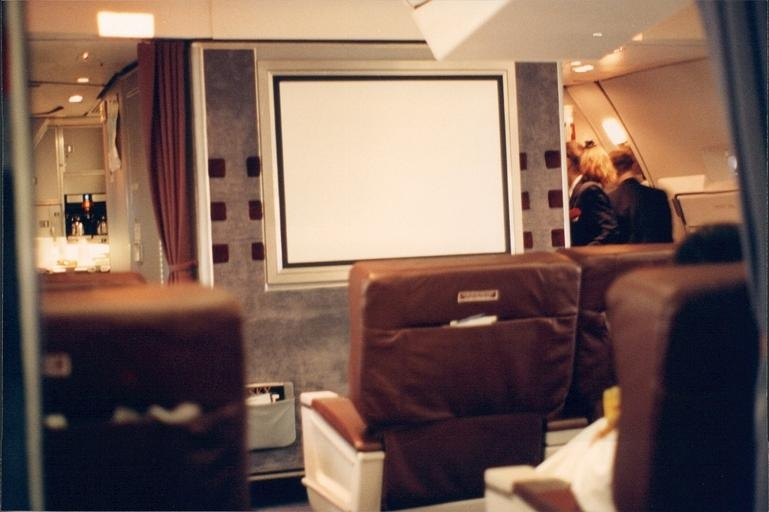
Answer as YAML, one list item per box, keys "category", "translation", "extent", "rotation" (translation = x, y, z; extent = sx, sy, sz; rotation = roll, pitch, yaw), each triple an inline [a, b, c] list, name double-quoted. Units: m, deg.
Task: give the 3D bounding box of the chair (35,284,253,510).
- category: "chair"
  translation: [-0.592, 0.310, 1.680]
  extent: [0.465, 0.555, 0.838]
  rotation: [-2, -1, -15]

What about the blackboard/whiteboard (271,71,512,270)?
- category: "blackboard/whiteboard"
  translation: [0.000, -0.430, 2.895]
  extent: [0.935, 0.663, 0.035]
  rotation: [-2, 3, -13]
